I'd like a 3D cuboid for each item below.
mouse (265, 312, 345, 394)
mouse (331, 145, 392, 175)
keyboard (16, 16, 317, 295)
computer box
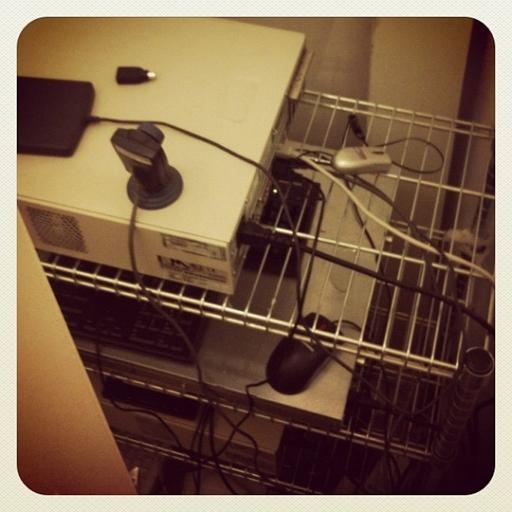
[{"bbox_3d":[0.067,0.168,0.968,0.099,0.095,0.067,9,42,1],"label":"mouse"},{"bbox_3d":[0.173,-0.154,0.970,0.081,0.034,0.055,-2,54,-9],"label":"mouse"},{"bbox_3d":[-0.153,-0.163,0.913,0.230,0.165,0.358,13,71,8],"label":"keyboard"},{"bbox_3d":[0.015,0.099,0.894,0.377,0.620,0.347,12,48,13],"label":"computer box"}]
